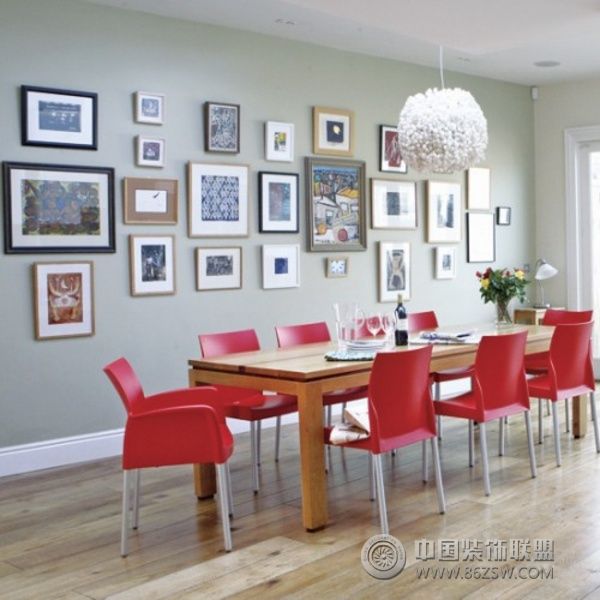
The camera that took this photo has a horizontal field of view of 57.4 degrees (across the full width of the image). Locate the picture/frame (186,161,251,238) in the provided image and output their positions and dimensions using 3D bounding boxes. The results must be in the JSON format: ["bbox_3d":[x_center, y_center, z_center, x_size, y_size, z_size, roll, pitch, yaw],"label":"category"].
[{"bbox_3d":[-0.667,-0.789,4.316,0.634,0.690,0.054,-1,1,-36],"label":"picture/frame"}]

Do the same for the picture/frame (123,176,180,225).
[{"bbox_3d":[-1.101,-0.720,3.991,0.382,0.309,0.036,-3,2,-40],"label":"picture/frame"}]

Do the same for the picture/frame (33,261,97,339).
[{"bbox_3d":[-1.588,-0.007,3.648,0.504,0.688,0.029,-2,1,-38],"label":"picture/frame"}]

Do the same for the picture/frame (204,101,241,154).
[{"bbox_3d":[-0.625,-1.347,4.311,0.429,0.511,0.036,-2,2,-42],"label":"picture/frame"}]

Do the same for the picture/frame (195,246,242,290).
[{"bbox_3d":[-0.665,-0.255,4.335,0.350,0.295,0.024,-2,2,-40],"label":"picture/frame"}]

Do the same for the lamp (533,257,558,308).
[{"bbox_3d":[2.825,-0.221,6.266,0.258,0.530,1.237,-2,-2,23],"label":"lamp"}]

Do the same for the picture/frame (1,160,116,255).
[{"bbox_3d":[-1.623,-0.607,3.603,0.667,0.558,0.045,-1,1,-36],"label":"picture/frame"}]

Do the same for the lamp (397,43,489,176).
[{"bbox_3d":[0.868,-1.226,3.393,0.550,0.875,0.473,5,13,32],"label":"lamp"}]

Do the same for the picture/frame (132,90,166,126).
[{"bbox_3d":[-1.103,-1.376,3.955,0.274,0.235,0.033,-4,5,-44],"label":"picture/frame"}]

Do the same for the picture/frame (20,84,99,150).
[{"bbox_3d":[-1.601,-1.193,3.593,0.500,0.404,0.033,-1,0,-35],"label":"picture/frame"}]

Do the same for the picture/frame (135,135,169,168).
[{"bbox_3d":[-1.088,-1.069,3.968,0.255,0.236,0.025,-3,5,-42],"label":"picture/frame"}]

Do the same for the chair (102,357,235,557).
[{"bbox_3d":[-0.530,0.653,2.351,0.583,0.728,0.519,1,-2,-29],"label":"chair"}]
